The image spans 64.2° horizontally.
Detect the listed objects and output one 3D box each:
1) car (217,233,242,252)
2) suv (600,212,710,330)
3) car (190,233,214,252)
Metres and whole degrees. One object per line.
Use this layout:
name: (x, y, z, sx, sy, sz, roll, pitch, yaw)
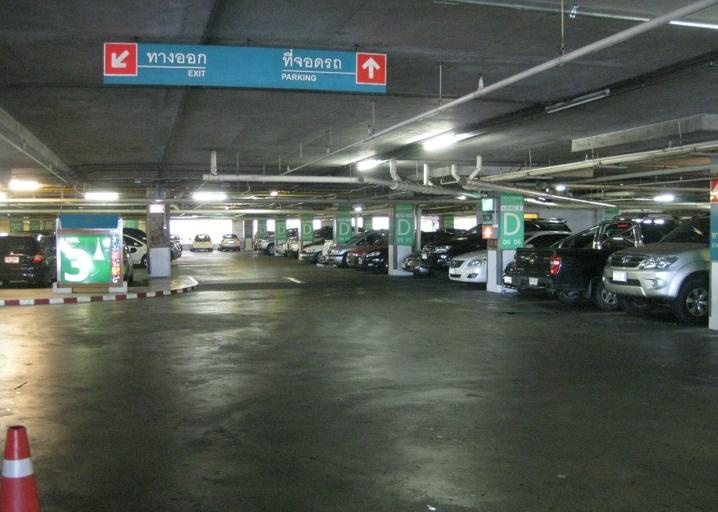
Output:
car: (-13.145, -1.341, 58.622, 1.859, 1.736, 1.877, -1, 1, -17)
suv: (6.615, 0.247, 12.680, 1.949, 2.214, 3.484, 0, 1, 29)
car: (-15.785, -1.264, 58.029, 1.650, 1.111, 2.564, -1, 7, -14)
